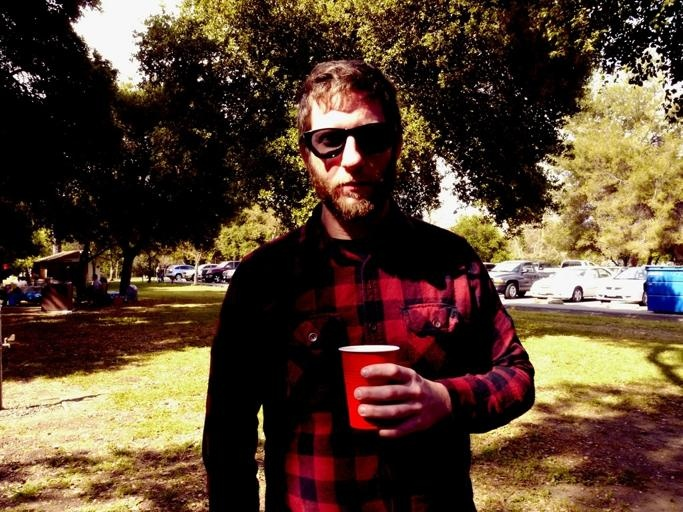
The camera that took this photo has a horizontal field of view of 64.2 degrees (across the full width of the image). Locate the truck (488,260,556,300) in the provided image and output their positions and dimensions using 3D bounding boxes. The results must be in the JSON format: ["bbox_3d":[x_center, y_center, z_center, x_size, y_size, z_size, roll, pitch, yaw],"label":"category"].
[{"bbox_3d":[8.870,1.196,26.501,3.394,1.368,1.828,4,-6,-33],"label":"truck"}]

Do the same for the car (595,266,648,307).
[{"bbox_3d":[12.675,1.317,24.311,1.246,1.755,1.858,-4,4,-38],"label":"car"}]
